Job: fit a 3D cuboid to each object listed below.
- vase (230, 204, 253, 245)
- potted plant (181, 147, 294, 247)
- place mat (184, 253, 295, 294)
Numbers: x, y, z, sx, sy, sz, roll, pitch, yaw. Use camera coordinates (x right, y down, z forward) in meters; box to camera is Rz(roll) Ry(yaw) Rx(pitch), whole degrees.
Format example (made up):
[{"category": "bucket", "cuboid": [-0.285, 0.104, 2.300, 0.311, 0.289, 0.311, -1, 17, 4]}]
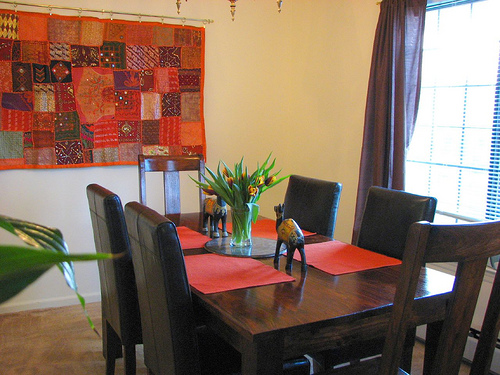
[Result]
[{"category": "vase", "cuboid": [-0.047, 0.187, 2.261, 0.122, 0.220, 0.131, 6, 21, 19]}, {"category": "potted plant", "cuboid": [-0.135, 0.113, 2.247, 0.386, 0.429, 0.480, -7, 4, -12]}, {"category": "place mat", "cuboid": [-0.075, 0.374, 1.916, 0.435, 0.015, 0.374, -4, 12, -23]}]
